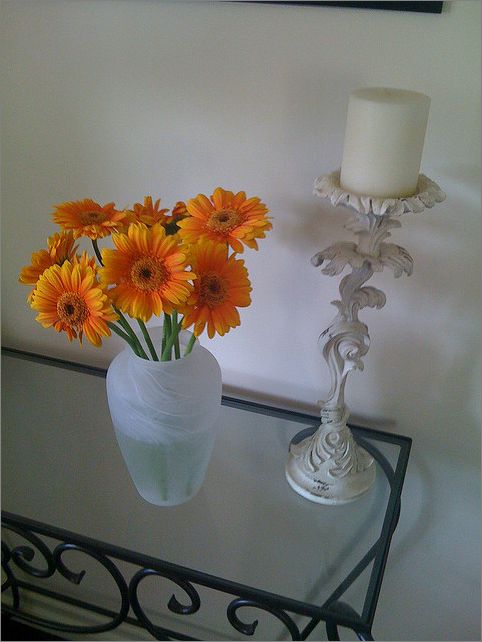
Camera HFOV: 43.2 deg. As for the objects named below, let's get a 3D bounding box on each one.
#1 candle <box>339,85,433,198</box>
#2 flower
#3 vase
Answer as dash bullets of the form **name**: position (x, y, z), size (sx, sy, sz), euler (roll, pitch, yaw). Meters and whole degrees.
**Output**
- **candle**: position (0.139, -0.197, 0.689), size (0.105, 0.122, 0.107), euler (2, 32, 4)
- **flower**: position (-0.108, -0.033, 0.709), size (0.276, 0.213, 0.236), euler (-8, 32, -21)
- **vase**: position (-0.099, 0.130, 0.820), size (0.148, 0.226, 0.152), euler (22, 33, 37)
